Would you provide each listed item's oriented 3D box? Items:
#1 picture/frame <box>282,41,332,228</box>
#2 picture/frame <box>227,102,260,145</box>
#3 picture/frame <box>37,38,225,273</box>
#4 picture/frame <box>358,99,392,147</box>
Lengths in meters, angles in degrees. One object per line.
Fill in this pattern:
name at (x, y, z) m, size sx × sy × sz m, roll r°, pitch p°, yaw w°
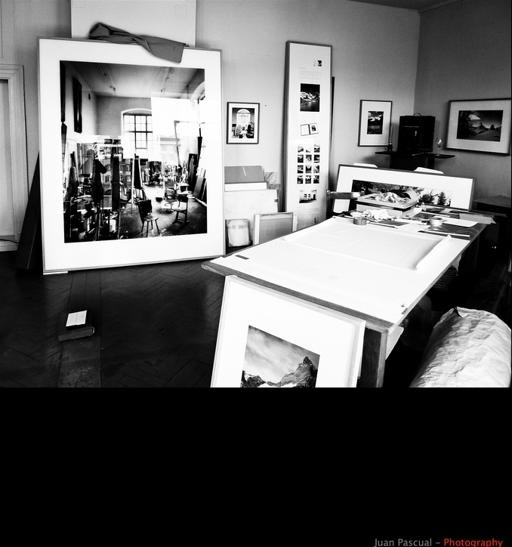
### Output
picture/frame at (0.758, -1.919, 6.306) m, size 0.567 × 2.905 × 0.098 m, roll 1°, pitch -13°, yaw 8°
picture/frame at (-0.187, -2.054, 6.035) m, size 0.442 × 0.592 × 0.025 m, roll -2°, pitch 42°, yaw -6°
picture/frame at (-1.342, -1.331, 4.932) m, size 1.915 × 2.735 × 0.085 m, roll -3°, pitch -13°, yaw -15°
picture/frame at (1.853, -2.391, 6.926) m, size 0.620 × 0.877 × 0.052 m, roll -5°, pitch 10°, yaw -27°
